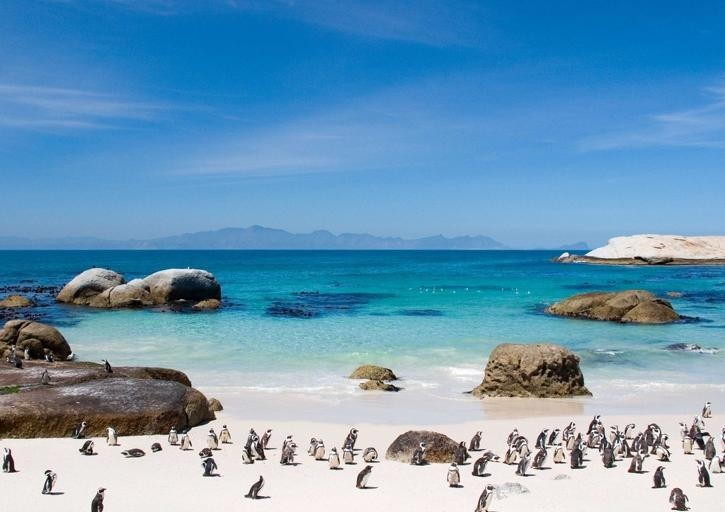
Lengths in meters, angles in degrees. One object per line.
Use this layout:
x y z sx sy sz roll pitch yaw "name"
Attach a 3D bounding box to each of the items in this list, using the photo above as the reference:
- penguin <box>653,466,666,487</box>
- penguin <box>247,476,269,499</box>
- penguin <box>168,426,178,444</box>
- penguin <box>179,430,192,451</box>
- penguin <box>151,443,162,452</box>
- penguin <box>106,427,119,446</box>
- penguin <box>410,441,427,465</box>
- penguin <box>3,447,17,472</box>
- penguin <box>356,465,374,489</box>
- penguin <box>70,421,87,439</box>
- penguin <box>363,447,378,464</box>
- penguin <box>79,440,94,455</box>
7.988 5.966 17.392 0.305 0.482 0.446 2 -1 21 "penguin"
-2.825 6.013 16.815 0.471 0.462 0.482 2 -1 -8 "penguin"
-5.576 5.294 18.996 0.288 0.476 0.395 2 -1 -13 "penguin"
-5.171 5.403 18.872 0.387 0.464 0.588 2 -1 -12 "penguin"
-5.935 5.515 18.545 0.278 0.225 0.328 1 -1 -16 "penguin"
-7.327 5.250 18.861 0.304 0.471 0.550 2 -1 -20 "penguin"
1.579 5.618 18.310 0.427 0.432 0.322 1 -1 5 "penguin"
-9.521 5.508 17.356 0.331 0.604 0.352 2 -1 -23 "penguin"
-0.009 5.901 17.212 0.407 0.457 0.301 2 -1 -5 "penguin"
-8.375 5.125 18.993 0.407 0.451 0.250 2 -1 -2 "penguin"
0.227 5.708 18.541 0.396 0.306 0.537 1 0 8 "penguin"
-7.798 5.436 18.242 0.418 0.371 0.260 2 -1 -15 "penguin"
